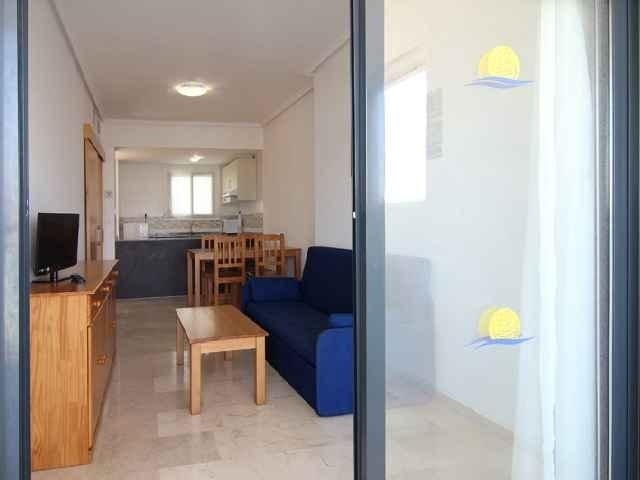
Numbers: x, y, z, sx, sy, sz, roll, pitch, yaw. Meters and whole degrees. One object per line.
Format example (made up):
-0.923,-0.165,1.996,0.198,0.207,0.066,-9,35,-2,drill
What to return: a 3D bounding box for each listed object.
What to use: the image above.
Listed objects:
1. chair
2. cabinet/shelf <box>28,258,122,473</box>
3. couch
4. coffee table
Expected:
-0.960,0.367,6.454,0.935,0.998,1.051,0,4,-15,chair
-1.411,0.738,2.923,0.290,0.550,1.058,-1,6,-18,cabinet/shelf
-0.110,0.581,4.187,0.818,0.942,1.853,-2,9,-13,couch
-0.701,1.051,4.010,0.539,0.510,1.092,-3,-15,-10,coffee table
